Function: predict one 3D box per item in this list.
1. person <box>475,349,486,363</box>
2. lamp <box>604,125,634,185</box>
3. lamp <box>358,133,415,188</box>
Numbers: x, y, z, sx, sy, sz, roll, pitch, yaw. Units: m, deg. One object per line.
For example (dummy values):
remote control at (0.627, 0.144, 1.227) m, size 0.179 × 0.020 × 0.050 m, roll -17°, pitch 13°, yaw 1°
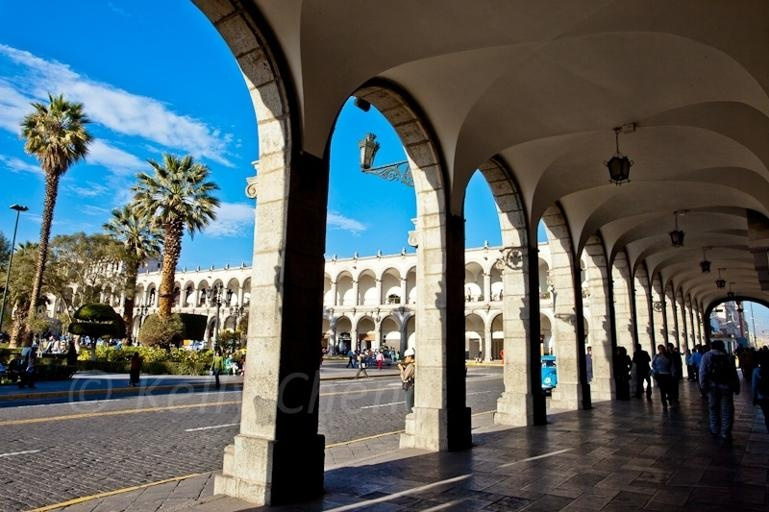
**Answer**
person at (8.958, 9.596, 46.580) m, size 0.781 × 1.426 × 0.774 m, roll 5°, pitch -15°, yaw -19°
lamp at (5.215, -2.338, 10.808) m, size 0.767 × 1.541 × 0.580 m, roll 2°, pitch -18°, yaw 14°
lamp at (-0.002, -2.193, 11.047) m, size 1.273 × 1.341 × 0.462 m, roll -7°, pitch -13°, yaw 28°
